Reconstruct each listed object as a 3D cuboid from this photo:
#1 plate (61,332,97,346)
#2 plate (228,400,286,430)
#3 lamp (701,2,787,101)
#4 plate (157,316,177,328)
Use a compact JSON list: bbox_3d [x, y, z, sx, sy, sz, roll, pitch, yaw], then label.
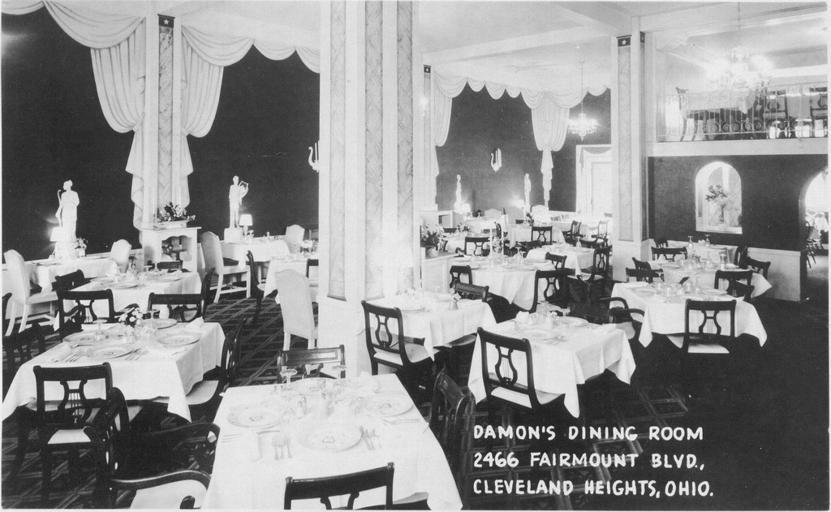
[{"bbox_3d":[-3.919,0.972,7.048,0.354,0.101,0.402,-4,6,-31],"label":"plate"},{"bbox_3d":[-1.540,1.539,5.794,0.504,0.157,0.317,-3,5,-17],"label":"plate"},{"bbox_3d":[6.791,-4.284,12.487,1.587,2.653,1.608,3,12,23],"label":"lamp"},{"bbox_3d":[-3.072,0.829,7.443,0.233,0.081,0.239,-3,5,-26],"label":"plate"}]
